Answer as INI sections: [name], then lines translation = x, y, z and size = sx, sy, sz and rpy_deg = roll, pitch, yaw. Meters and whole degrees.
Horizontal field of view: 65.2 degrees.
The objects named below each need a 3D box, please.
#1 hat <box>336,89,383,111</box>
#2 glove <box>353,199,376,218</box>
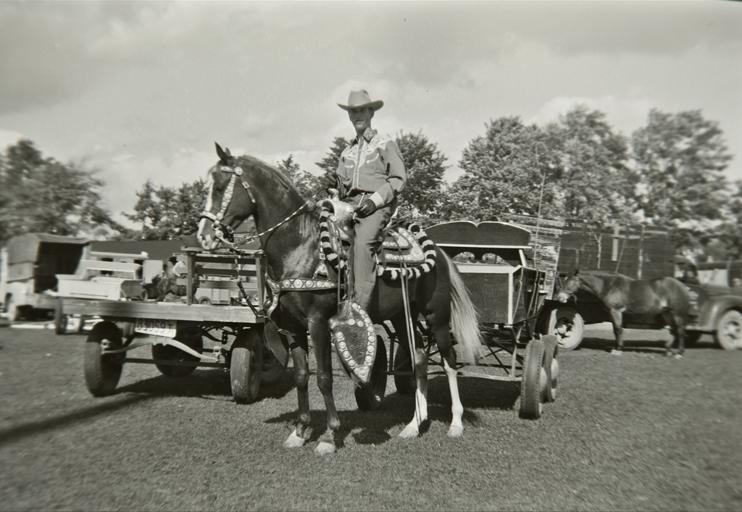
[hat]
translation = -0.093, -1.976, 7.378
size = 0.487, 0.256, 0.353
rpy_deg = 1, 9, -7
[glove]
translation = -0.065, -0.596, 7.222
size = 0.261, 0.242, 0.120
rpy_deg = 1, 9, -2
